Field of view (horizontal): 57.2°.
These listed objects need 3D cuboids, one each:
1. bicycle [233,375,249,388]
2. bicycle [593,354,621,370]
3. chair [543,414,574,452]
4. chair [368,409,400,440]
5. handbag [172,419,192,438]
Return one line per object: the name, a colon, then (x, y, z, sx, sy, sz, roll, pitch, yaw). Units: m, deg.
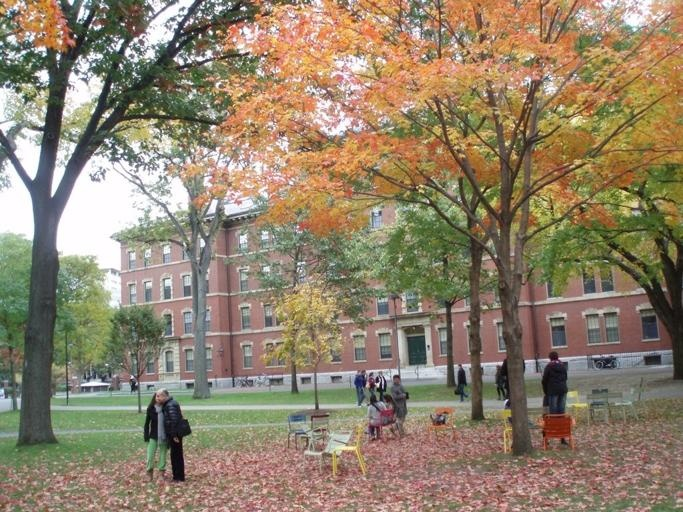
bicycle: (-9.664, 12.052, 59.681, 1.390, 1.449, 0.891, -2, -15, 3)
bicycle: (19.320, 7.767, 45.697, 1.435, 0.706, 1.120, 0, -6, 12)
chair: (5.429, 4.416, 15.727, 0.734, 0.891, 1.362, -7, -12, 16)
chair: (1.354, 5.488, 20.417, 1.058, 1.224, 1.001, 1, -12, 4)
handbag: (-3.882, 4.254, 15.451, 0.352, 0.455, 0.700, -4, -12, 0)
